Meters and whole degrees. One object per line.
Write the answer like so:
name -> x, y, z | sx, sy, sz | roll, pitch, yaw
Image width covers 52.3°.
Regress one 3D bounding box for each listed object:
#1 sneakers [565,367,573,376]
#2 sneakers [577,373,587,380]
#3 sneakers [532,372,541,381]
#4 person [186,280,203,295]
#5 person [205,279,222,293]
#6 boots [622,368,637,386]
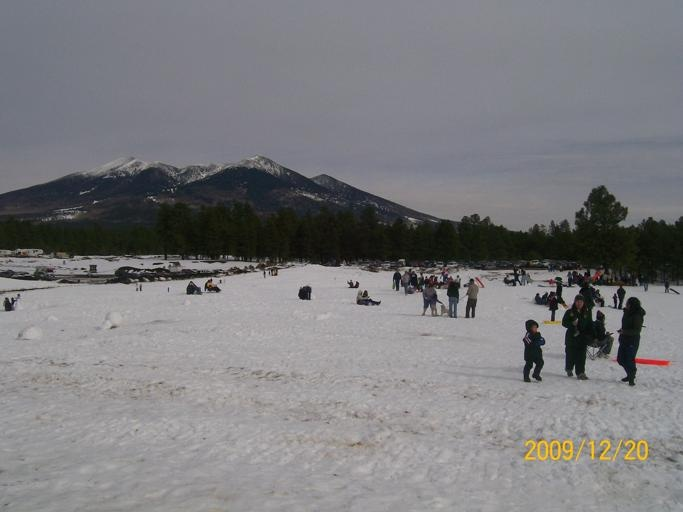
sneakers -> 6.826, 3.507, 20.961 | 0.113, 0.359, 0.148 | -6, -9, 7
sneakers -> 7.107, 3.577, 20.669 | 0.279, 0.202, 0.151 | -2, 3, 4
sneakers -> 5.769, 3.575, 20.587 | 0.256, 0.195, 0.309 | 2, 13, 12
person -> -10.088, 2.020, 46.883 | 0.946, 0.652, 3.316 | -4, 13, -14
person -> -9.703, 2.240, 52.315 | 1.445, 1.478, 0.495 | -3, 11, -13
boots -> 8.284, 3.496, 20.128 | 0.284, 0.553, 0.557 | 5, 1, -7
